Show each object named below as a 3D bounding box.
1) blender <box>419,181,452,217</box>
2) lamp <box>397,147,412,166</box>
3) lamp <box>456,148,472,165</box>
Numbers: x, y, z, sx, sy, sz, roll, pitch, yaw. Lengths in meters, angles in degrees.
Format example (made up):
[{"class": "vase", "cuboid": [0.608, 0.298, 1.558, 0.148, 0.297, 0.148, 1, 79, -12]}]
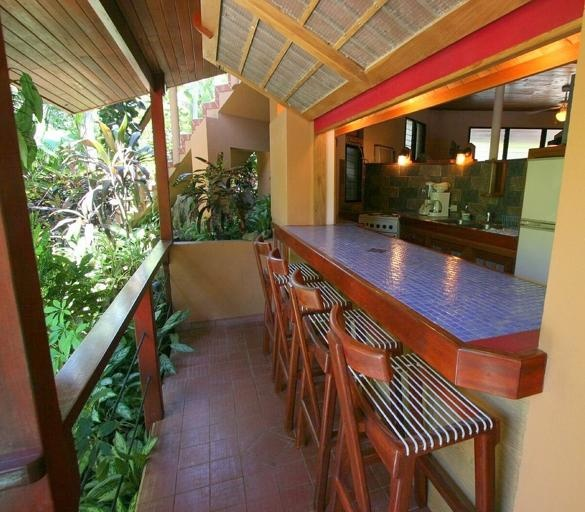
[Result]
[{"class": "blender", "cuboid": [1.822, -0.712, 5.259, 0.330, 0.412, 0.432, 1, 12, 6]}, {"class": "lamp", "cuboid": [1.642, -1.442, 6.070, 0.192, 0.252, 0.383, 3, 12, 14]}, {"class": "lamp", "cuboid": [2.162, -1.246, 5.264, 0.202, 0.209, 0.445, 5, 13, 22]}]
